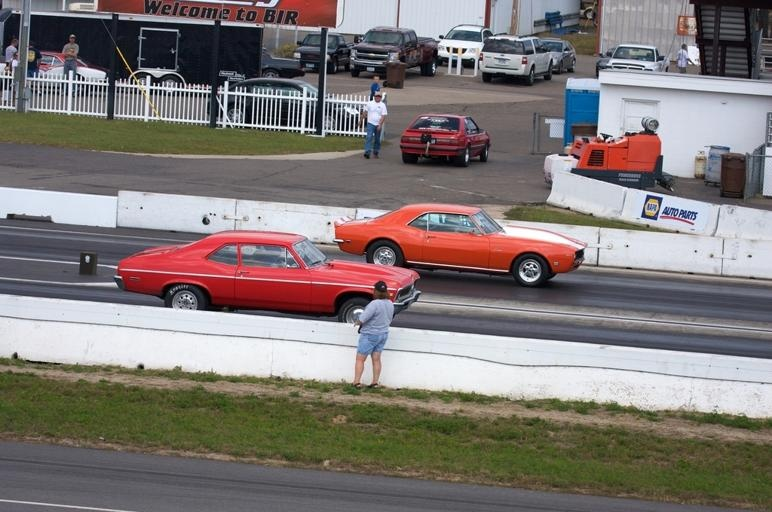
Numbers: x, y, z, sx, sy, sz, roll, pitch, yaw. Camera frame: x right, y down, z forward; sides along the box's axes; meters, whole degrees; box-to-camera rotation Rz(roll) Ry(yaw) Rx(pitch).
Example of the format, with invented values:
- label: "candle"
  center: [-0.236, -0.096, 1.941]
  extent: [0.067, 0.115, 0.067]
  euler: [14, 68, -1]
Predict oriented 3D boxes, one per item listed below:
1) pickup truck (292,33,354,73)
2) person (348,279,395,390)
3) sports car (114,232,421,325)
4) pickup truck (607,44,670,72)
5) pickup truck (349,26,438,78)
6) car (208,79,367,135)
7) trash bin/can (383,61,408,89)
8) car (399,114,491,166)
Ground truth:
- label: "pickup truck"
  center: [-2.787, -9.539, 92.839]
  extent: [2.018, 1.743, 4.138]
  euler: [7, 12, 16]
- label: "person"
  center: [-0.447, 2.316, 58.009]
  extent: [1.247, 2.914, 1.138]
  euler: [0, -1, -17]
- label: "sports car"
  center: [-3.523, 0.462, 60.045]
  extent: [8.190, 2.361, 3.513]
  euler: [3, 17, 5]
- label: "pickup truck"
  center: [10.835, -8.596, 86.146]
  extent: [2.289, 0.936, 3.123]
  euler: [5, 8, 13]
- label: "pickup truck"
  center: [0.362, -9.250, 91.089]
  extent: [2.966, 2.023, 5.701]
  euler: [5, 11, 20]
- label: "car"
  center: [-4.057, -5.876, 80.172]
  extent: [4.970, 2.403, 2.489]
  euler: [1, 7, 6]
- label: "trash bin/can"
  center: [0.424, -7.947, 87.781]
  extent: [0.826, 1.137, 0.839]
  euler: [2, 8, -6]
- label: "car"
  center: [2.801, -4.420, 75.339]
  extent: [2.658, 1.956, 5.753]
  euler: [10, 11, 42]
